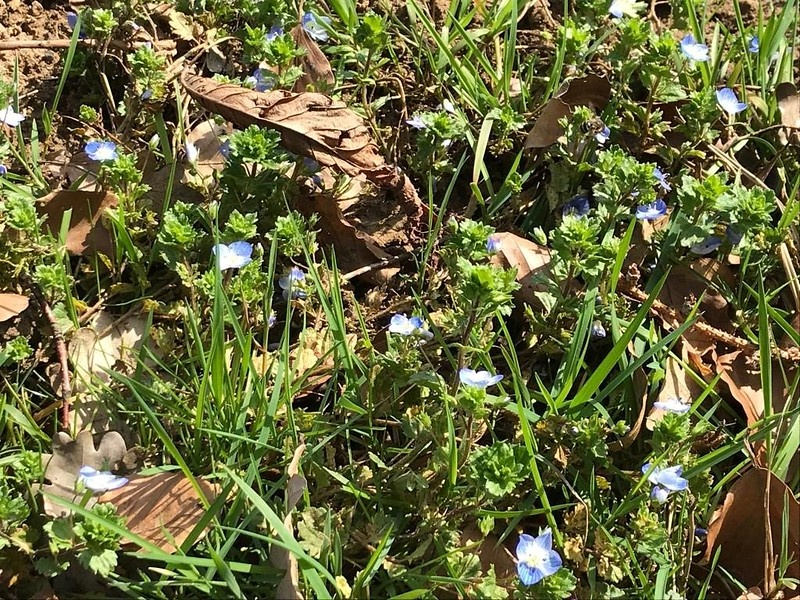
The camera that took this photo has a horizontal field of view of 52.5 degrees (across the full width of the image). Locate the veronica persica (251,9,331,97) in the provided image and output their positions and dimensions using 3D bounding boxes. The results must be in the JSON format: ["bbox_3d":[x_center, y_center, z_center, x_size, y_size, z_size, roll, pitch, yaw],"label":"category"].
[{"bbox_3d":[-0.363,-1.008,3.162,0.305,0.144,0.392,-1,79,-15],"label":"veronica persica"}]

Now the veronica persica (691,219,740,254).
[{"bbox_3d":[1.178,-0.219,3.015,0.140,0.044,0.093,-22,35,11],"label":"veronica persica"}]

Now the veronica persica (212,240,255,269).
[{"bbox_3d":[-0.530,-0.139,2.603,0.099,0.059,0.147,-3,38,-9],"label":"veronica persica"}]

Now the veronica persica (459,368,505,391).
[{"bbox_3d":[0.224,0.231,2.367,0.077,0.038,0.081,7,-1,35],"label":"veronica persica"}]

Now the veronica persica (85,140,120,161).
[{"bbox_3d":[-1.064,-0.526,2.903,0.092,0.035,0.100,27,43,11],"label":"veronica persica"}]

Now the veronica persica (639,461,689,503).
[{"bbox_3d":[0.803,0.550,2.468,0.102,0.070,0.128,3,53,-7],"label":"veronica persica"}]

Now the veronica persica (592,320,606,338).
[{"bbox_3d":[0.700,0.104,2.849,0.046,0.057,0.066,13,37,15],"label":"veronica persica"}]
